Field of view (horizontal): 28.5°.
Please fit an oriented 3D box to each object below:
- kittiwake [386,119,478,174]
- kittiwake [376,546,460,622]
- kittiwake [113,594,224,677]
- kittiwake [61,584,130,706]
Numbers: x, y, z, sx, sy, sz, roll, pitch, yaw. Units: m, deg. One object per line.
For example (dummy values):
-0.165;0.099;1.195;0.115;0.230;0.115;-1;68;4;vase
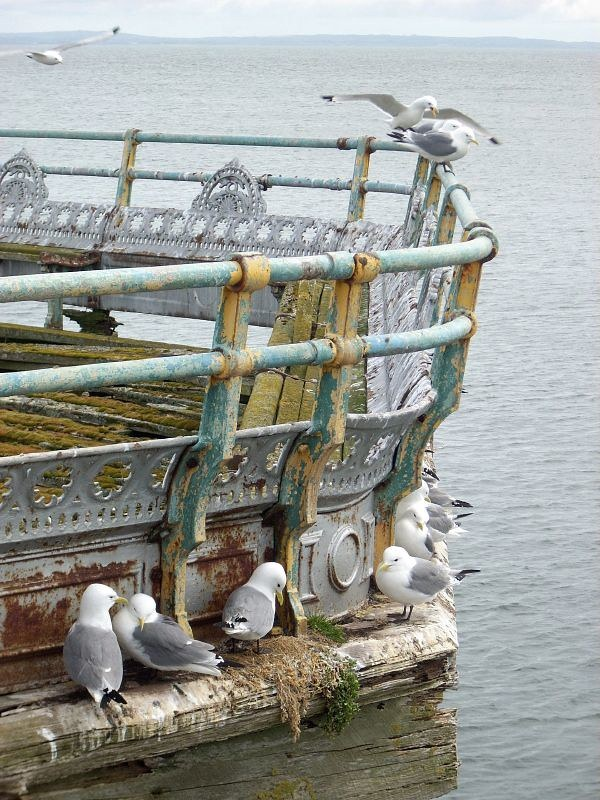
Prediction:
0.771;-1.710;7.936;0.919;0.350;0.303;13;28;33;kittiwake
0.457;0.700;4.549;0.406;0.259;0.204;-3;10;-33;kittiwake
-0.406;0.711;3.695;0.389;0.215;0.210;12;6;5;kittiwake
-0.608;0.713;3.481;0.197;0.296;0.375;-1;47;-13;kittiwake
